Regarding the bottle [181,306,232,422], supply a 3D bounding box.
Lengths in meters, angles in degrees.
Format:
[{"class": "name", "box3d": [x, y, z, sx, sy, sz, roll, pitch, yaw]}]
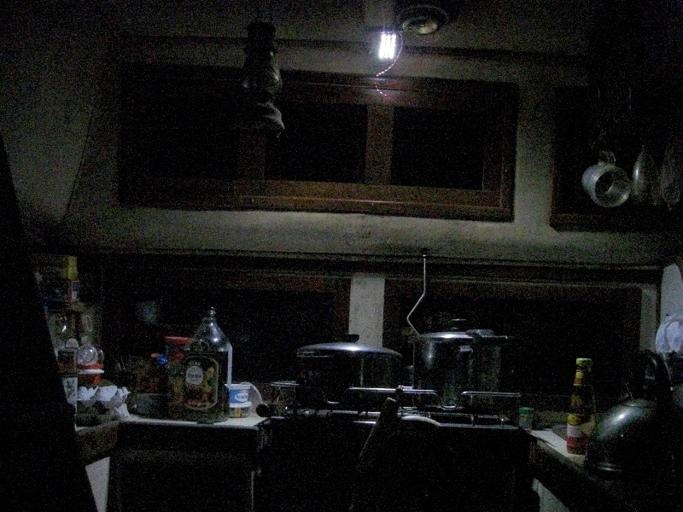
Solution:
[{"class": "bottle", "box3d": [-0.613, 0.490, 3.491, 0.207, 0.503, 0.247, 1, -5, 14]}]

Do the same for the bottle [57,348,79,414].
[{"class": "bottle", "box3d": [-1.217, 0.538, 3.356, 0.095, 0.269, 0.263, 4, -6, -20]}]

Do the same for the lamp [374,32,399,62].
[{"class": "lamp", "box3d": [0.209, -0.989, 3.614, 0.095, 0.134, 0.041, 0, 9, -27]}]

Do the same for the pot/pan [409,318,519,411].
[{"class": "pot/pan", "box3d": [0.520, 0.448, 3.375, 0.383, 0.329, 0.398, 0, -2, 20]}]

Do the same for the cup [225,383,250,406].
[{"class": "cup", "box3d": [-0.477, 0.625, 3.501, 0.093, 0.093, 0.095, 0, -1, 0]}]

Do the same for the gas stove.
[{"class": "gas stove", "box3d": [0.248, 0.618, 3.169, 1.146, 0.133, 0.428, 3, -6, -8]}]
